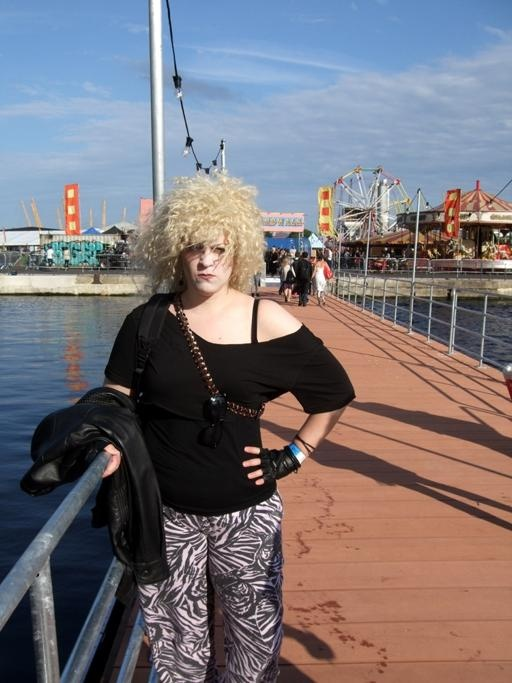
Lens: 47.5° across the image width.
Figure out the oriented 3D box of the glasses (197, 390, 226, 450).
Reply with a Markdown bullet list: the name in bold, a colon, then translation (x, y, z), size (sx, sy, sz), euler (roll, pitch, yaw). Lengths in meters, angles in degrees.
- **glasses**: translation (-0.113, 0.209, 1.508), size (0.069, 0.141, 0.041), euler (-2, 8, -5)

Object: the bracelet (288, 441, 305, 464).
- **bracelet**: translation (0.125, 0.335, 1.761), size (0.039, 0.066, 0.023), euler (-47, 24, -28)
